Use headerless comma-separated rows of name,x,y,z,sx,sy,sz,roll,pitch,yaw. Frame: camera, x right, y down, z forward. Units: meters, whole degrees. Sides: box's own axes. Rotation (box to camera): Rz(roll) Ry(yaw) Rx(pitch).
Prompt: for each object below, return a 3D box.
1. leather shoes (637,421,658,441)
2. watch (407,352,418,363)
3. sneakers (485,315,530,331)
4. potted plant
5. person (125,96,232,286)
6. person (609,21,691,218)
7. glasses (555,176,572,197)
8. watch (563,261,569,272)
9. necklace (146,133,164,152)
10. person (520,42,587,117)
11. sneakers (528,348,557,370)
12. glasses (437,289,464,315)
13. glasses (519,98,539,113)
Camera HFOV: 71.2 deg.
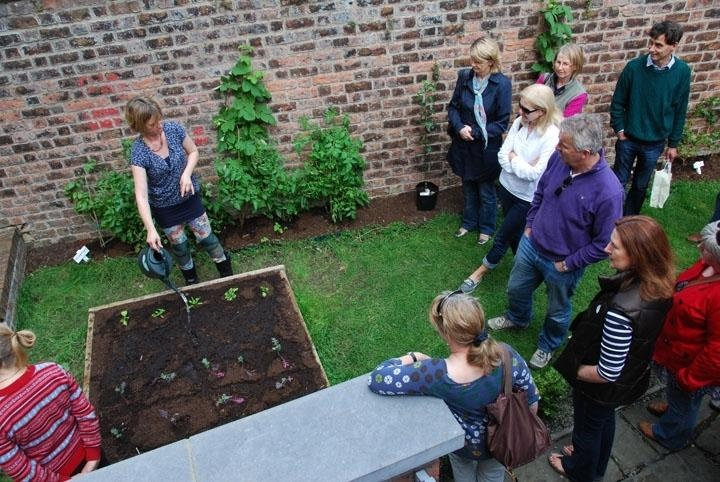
leather shoes,2.936,1.939,5.120,0.087,0.072,0.184,-29,42,-11
watch,0.445,0.994,4.249,0.031,0.060,0.079,-24,74,-19
sneakers,1.738,0.997,5.987,0.497,0.204,0.164,3,50,3
potted plant,0.987,-1.478,7.426,0.403,2.068,0.612,1,29,17
person,-2.178,-0.452,5.923,1.004,2.438,0.618,-28,34,-33
person,3.869,-1.564,6.812,0.897,2.537,0.565,7,32,28
glasses,2.037,-0.534,5.019,0.064,0.230,0.069,-20,64,-35
watch,2.074,0.273,5.082,0.033,0.086,0.074,-13,1,3
necklace,-2.316,-1.097,5.629,0.110,0.167,0.186,9,-8,22
person,2.591,-1.965,6.534,0.614,1.031,0.707,-30,45,-21
sneakers,2.030,1.355,5.666,0.332,0.139,0.147,-31,74,-14
glasses,0.707,0.493,4.115,0.161,0.211,0.079,10,11,3
glasses,1.843,-1.462,5.491,0.169,0.049,0.157,1,33,-25
